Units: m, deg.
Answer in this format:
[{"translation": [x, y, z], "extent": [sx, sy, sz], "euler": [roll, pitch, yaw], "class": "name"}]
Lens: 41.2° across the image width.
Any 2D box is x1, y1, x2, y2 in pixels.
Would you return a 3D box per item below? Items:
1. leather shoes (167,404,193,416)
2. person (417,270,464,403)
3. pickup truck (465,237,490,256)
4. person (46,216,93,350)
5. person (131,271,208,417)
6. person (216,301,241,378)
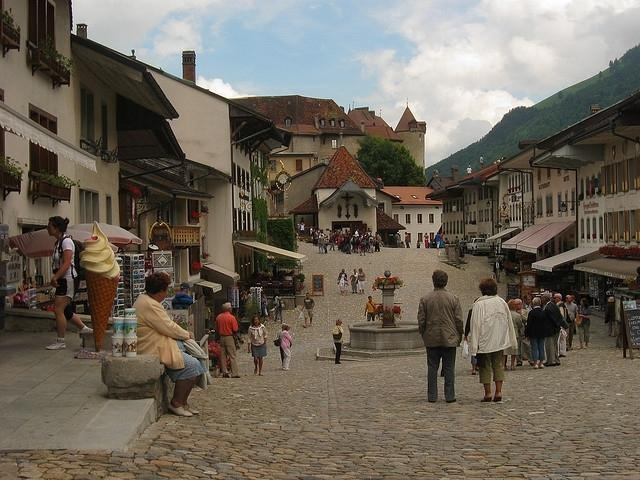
[{"translation": [-2.201, 2.730, 13.633], "extent": [0.316, 0.119, 0.164], "euler": [9, 4, 8], "class": "leather shoes"}, {"translation": [2.219, 1.748, 15.927], "extent": [0.791, 2.578, 0.715], "euler": [0, 0, 1], "class": "person"}, {"translation": [14.234, 0.666, 77.020], "extent": [1.491, 1.212, 3.322], "euler": [-1, 3, -7], "class": "pickup truck"}, {"translation": [-4.679, 0.786, 15.979], "extent": [1.170, 2.290, 0.669], "euler": [0, 0, -16], "class": "person"}, {"translation": [-2.412, 1.647, 13.887], "extent": [1.131, 2.281, 1.069], "euler": [0, 0, -13], "class": "person"}, {"translation": [-2.377, 2.709, 23.013], "extent": [0.669, 1.951, 0.596], "euler": [-3, -4, 22], "class": "person"}]
